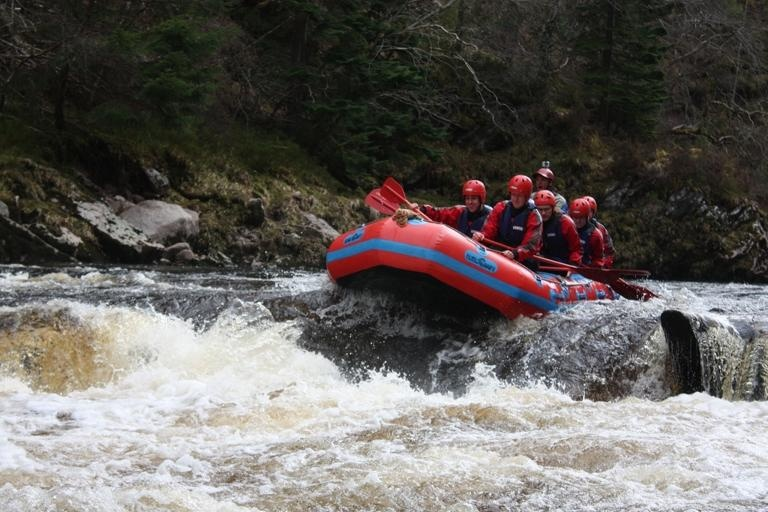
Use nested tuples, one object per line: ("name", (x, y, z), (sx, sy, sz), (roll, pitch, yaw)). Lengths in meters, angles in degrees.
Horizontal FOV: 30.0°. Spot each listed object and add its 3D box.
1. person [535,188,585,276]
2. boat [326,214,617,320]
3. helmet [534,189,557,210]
("person", (5.026, -0.682, 40.768), (1.148, 2.283, 1.355), (2, -1, 4))
("boat", (3.399, 0.742, 41.699), (8.666, 1.606, 5.129), (14, 3, -44))
("helmet", (4.562, -1.605, 40.422), (0.425, 0.559, 0.516), (1, -1, 5))
